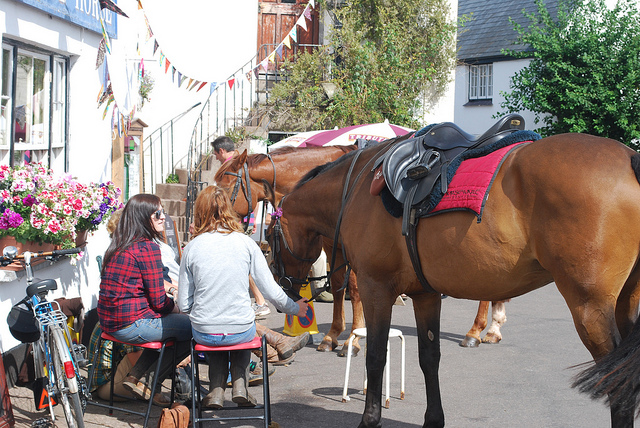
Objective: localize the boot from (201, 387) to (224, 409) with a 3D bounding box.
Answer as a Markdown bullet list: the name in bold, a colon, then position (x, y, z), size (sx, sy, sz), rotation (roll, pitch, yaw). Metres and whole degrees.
- **boot**: position (-1.004, 1.675, 5.646), size (0.091, 0.197, 0.274), rotation (8, -10, -27)

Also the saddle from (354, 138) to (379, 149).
- **saddle**: position (0.558, -0.837, 7.535), size (0.305, 0.123, 0.220), rotation (-1, 3, -10)

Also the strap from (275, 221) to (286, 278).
- **strap**: position (-0.451, 0.366, 6.978), size (0.079, 0.706, 0.094), rotation (4, 10, 10)

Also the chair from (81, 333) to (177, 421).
- **chair**: position (-1.873, 1.602, 6.090), size (0.583, 1.020, 0.580), rotation (6, -18, 32)

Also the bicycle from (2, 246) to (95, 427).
- **bicycle**: position (-2.414, 1.136, 5.677), size (0.833, 1.741, 0.780), rotation (1, 6, 8)

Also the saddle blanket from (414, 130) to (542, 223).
- **saddle blanket**: position (1.279, -0.269, 4.918), size (0.432, 0.709, 1.766), rotation (2, -3, -21)

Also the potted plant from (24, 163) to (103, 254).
- **potted plant**: position (-2.800, -0.042, 6.812), size (0.748, 0.919, 0.910), rotation (-6, -7, 38)
